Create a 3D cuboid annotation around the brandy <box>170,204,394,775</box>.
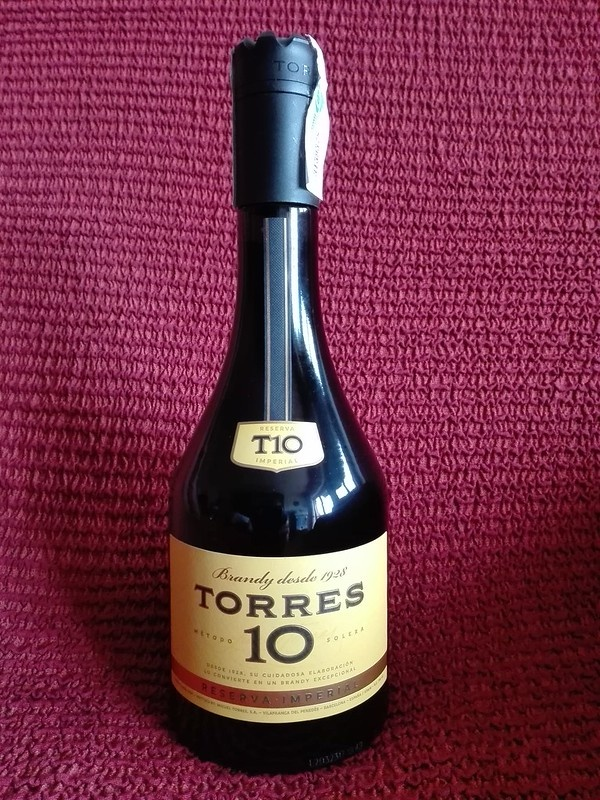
[{"bbox_3d":[-0.013,0.028,0.447,0.134,0.329,0.142,-5,14,-25],"label":"brandy"}]
